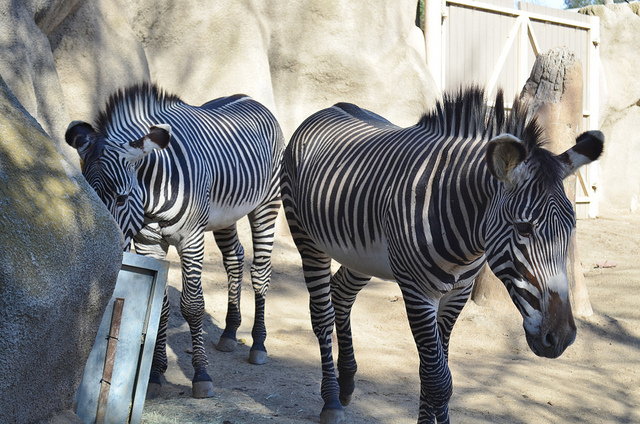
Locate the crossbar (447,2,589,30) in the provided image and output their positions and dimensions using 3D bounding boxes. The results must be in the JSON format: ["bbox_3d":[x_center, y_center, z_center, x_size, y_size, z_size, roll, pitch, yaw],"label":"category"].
[{"bbox_3d":[4.179,-4.045,15.611,3.337,0.269,0.252,5,7,-26],"label":"crossbar"}]

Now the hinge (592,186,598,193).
[{"bbox_3d":[5.816,-0.490,16.235,0.116,0.134,0.034,-1,6,-9],"label":"hinge"}]

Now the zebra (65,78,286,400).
[{"bbox_3d":[-1.290,0.114,7.994,1.312,2.767,2.681,10,7,31],"label":"zebra"}]

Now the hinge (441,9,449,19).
[{"bbox_3d":[2.421,-3.827,14.850,0.132,0.115,0.140,-4,-10,30],"label":"hinge"}]
